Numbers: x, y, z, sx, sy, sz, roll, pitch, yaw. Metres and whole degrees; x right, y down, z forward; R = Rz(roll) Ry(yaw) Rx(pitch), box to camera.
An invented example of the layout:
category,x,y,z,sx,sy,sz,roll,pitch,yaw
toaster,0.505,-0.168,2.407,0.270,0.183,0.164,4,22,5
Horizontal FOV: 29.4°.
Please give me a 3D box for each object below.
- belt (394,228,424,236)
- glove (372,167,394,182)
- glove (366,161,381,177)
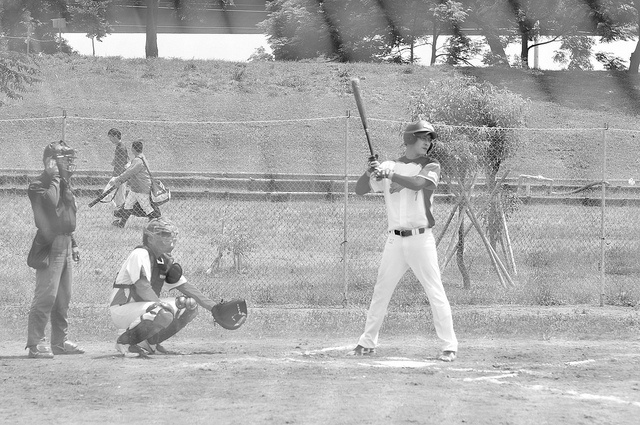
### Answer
category,x,y,z,sx,sy,sz,roll,pitch,yaw
belt,2.868,0.634,39.384,1.022,0.261,0.123,-2,13,0
glove,2.024,-1.194,39.332,0.524,0.330,0.233,11,-4,23
glove,1.723,-1.364,39.603,0.408,0.443,0.257,-2,-1,4
